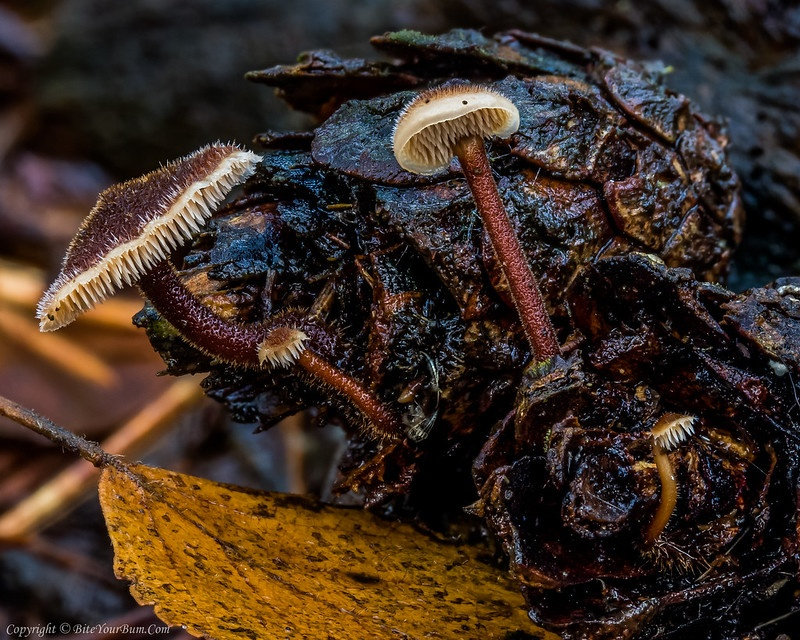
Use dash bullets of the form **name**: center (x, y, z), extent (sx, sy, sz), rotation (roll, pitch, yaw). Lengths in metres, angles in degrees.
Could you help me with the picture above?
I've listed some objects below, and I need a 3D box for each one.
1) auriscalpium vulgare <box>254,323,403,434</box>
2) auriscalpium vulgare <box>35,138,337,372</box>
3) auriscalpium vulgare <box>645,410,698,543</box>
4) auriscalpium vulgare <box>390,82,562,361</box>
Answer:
- **auriscalpium vulgare**: center (-0.285, 0.232, 4.597), extent (0.374, 0.444, 0.438), rotation (3, 96, 44)
- **auriscalpium vulgare**: center (-0.944, -0.212, 4.588), extent (1.031, 0.737, 0.681), rotation (-9, 45, -1)
- **auriscalpium vulgare**: center (1.066, 0.626, 4.461), extent (0.148, 0.203, 0.493), rotation (9, 85, 42)
- **auriscalpium vulgare**: center (0.379, -0.378, 4.511), extent (0.574, 0.442, 1.222), rotation (-18, 82, 4)
